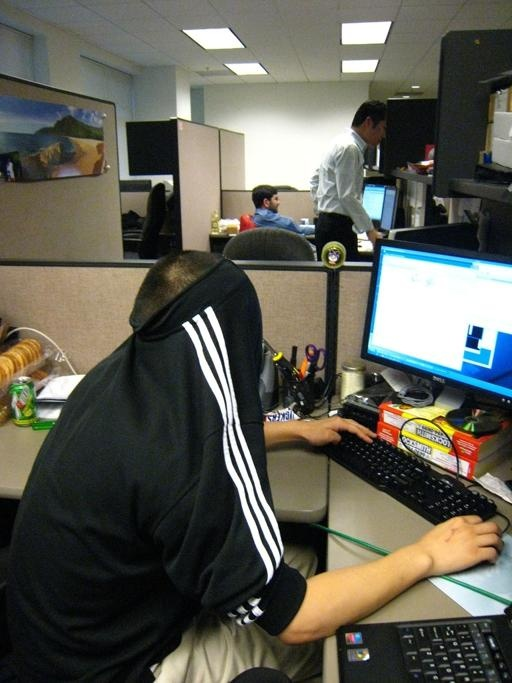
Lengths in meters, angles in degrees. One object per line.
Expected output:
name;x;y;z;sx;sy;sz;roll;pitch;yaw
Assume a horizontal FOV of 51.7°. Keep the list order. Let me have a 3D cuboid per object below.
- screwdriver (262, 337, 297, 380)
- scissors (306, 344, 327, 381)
screwdriver;0.074;0.050;1.283;0.040;0.149;0.040;0;53;54
scissors;0.148;0.048;1.303;0.047;0.109;0.073;6;14;28
